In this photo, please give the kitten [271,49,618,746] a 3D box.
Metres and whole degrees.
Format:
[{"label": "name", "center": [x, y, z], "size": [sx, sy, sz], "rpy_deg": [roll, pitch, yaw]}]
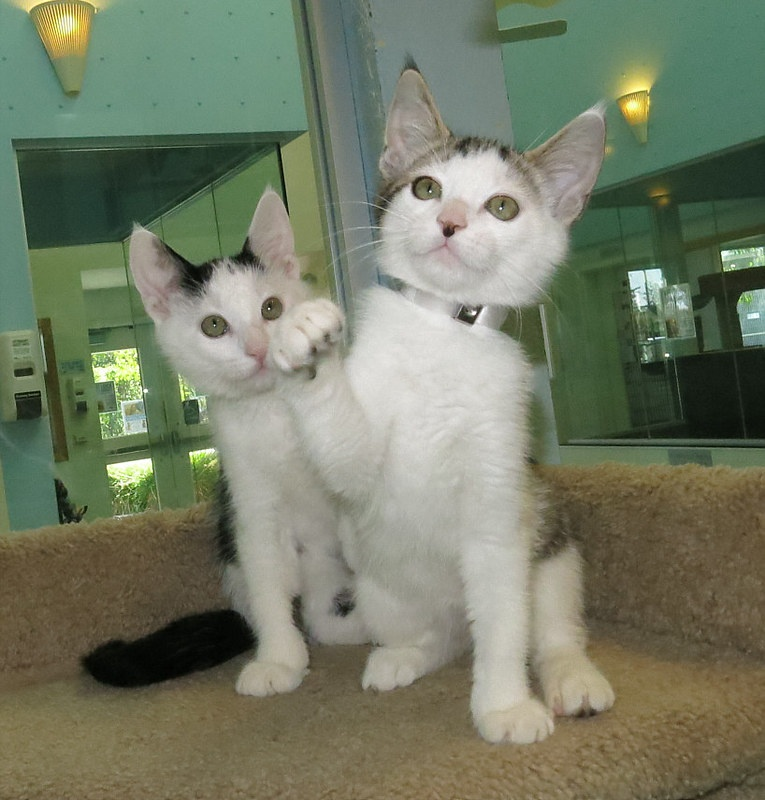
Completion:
[{"label": "kitten", "center": [0.095, -0.051, 1.070], "size": [0.384, 0.815, 0.407], "rpy_deg": [-6, 7, 18]}]
